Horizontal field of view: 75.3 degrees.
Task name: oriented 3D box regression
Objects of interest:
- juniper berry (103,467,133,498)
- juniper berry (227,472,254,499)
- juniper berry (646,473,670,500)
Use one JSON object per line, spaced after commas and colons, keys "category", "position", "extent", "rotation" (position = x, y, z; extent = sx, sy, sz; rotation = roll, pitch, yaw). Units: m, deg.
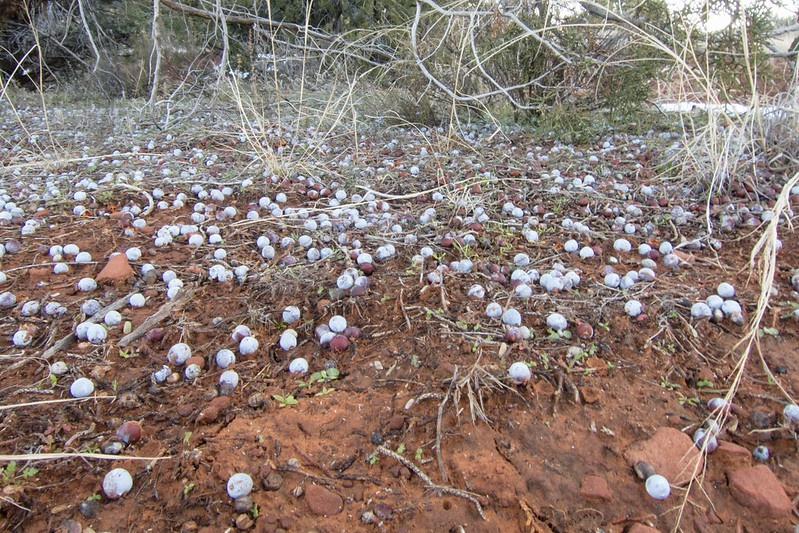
{"category": "juniper berry", "position": [-1.374, 1.050, 2.522], "extent": [0.134, 0.080, 0.117], "rotation": [8, 16, 29]}
{"category": "juniper berry", "position": [-0.771, 1.062, 2.538], "extent": [0.116, 0.062, 0.102], "rotation": [-35, 68, -24]}
{"category": "juniper berry", "position": [1.275, 1.078, 2.562], "extent": [0.110, 0.064, 0.113], "rotation": [5, -18, -3]}
